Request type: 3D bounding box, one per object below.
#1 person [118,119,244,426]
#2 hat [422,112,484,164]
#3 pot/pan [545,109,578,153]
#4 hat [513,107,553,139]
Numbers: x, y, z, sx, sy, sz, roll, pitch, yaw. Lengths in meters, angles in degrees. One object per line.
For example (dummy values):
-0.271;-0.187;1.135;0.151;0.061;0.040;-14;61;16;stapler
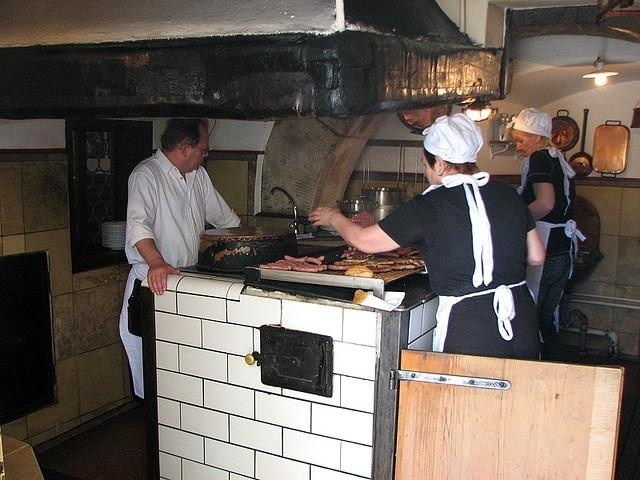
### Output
-0.779;0.127;3.149;0.629;1.509;1.110;1;9;-3;person
0.533;-0.385;2.430;0.210;0.196;0.110;29;-9;17;hat
2.465;-1.085;6.040;0.320;0.438;0.057;5;1;44;pot/pan
1.454;-0.797;4.156;0.244;0.157;0.185;11;23;11;hat
